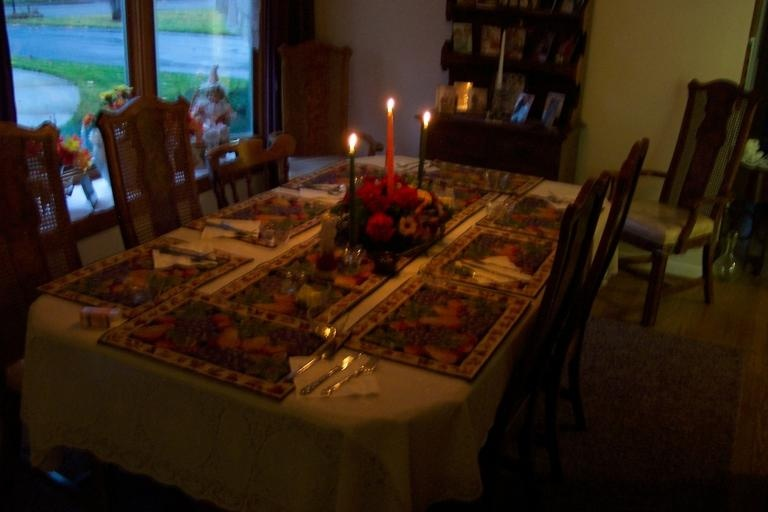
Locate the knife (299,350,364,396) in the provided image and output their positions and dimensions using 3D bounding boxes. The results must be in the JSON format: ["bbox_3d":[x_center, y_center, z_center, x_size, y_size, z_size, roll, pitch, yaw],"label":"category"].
[{"bbox_3d":[-0.139,0.340,1.731,0.059,0.017,0.390,19,25,25],"label":"knife"}]

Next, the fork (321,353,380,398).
[{"bbox_3d":[-0.089,0.387,1.664,0.059,0.046,0.287,16,19,18],"label":"fork"}]

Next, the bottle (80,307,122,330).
[{"bbox_3d":[-0.964,0.208,1.833,0.102,0.052,0.080,7,24,7],"label":"bottle"}]
